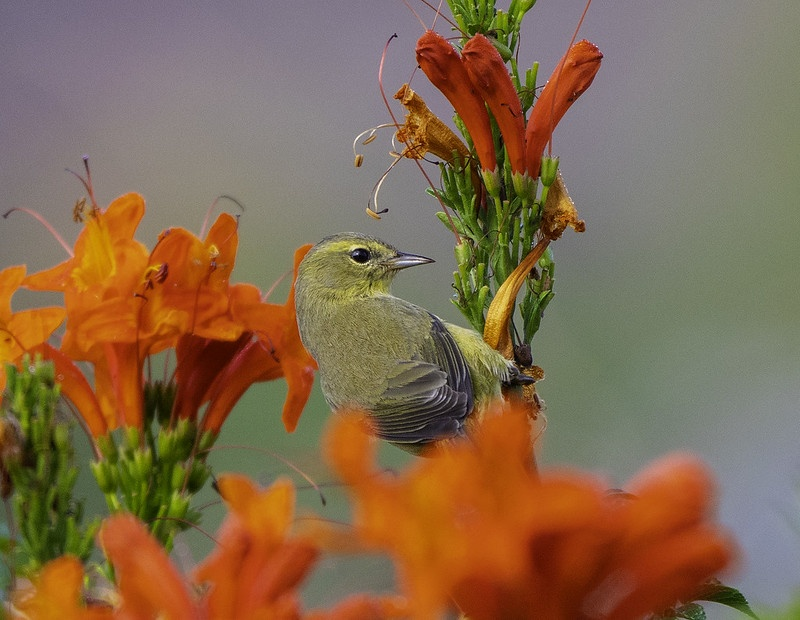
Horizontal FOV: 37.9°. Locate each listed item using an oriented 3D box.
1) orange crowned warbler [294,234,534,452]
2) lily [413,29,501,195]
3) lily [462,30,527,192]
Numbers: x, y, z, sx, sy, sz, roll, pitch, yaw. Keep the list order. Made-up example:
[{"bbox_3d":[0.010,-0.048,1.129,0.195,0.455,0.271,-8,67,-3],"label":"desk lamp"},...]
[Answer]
[{"bbox_3d":[0.008,0.070,1.373,0.229,0.357,0.167,-5,10,10],"label":"orange crowned warbler"},{"bbox_3d":[0.071,-0.235,1.406,0.047,0.189,0.062,-3,33,51],"label":"lily"},{"bbox_3d":[0.119,-0.226,1.351,0.046,0.042,0.192,-18,70,11],"label":"lily"}]
